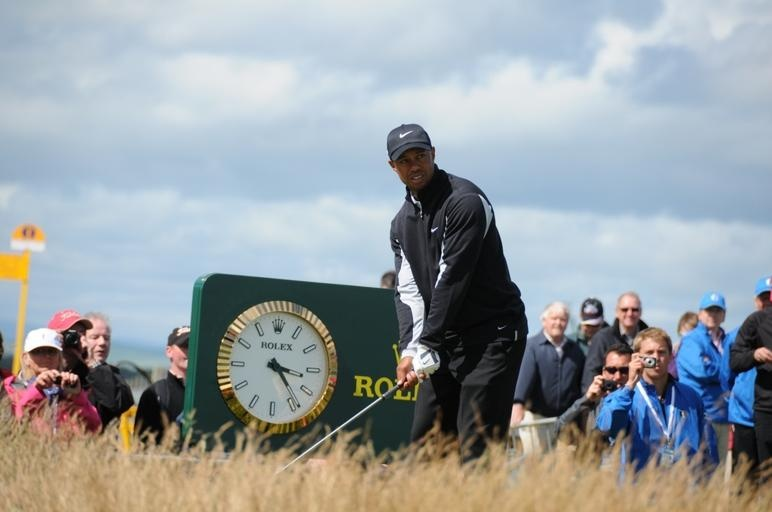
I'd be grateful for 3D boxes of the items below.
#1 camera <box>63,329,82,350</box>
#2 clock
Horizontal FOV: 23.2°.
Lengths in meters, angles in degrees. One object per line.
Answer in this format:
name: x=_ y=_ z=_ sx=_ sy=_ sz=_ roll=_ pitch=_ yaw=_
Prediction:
camera: x=-2.994 y=0.783 z=17.993 sx=0.146 sy=0.163 sz=0.158 roll=2 pitch=-21 yaw=-8
clock: x=-1.101 y=1.090 z=18.413 sx=1.174 sy=1.286 sz=0.093 roll=4 pitch=-10 yaw=-34
